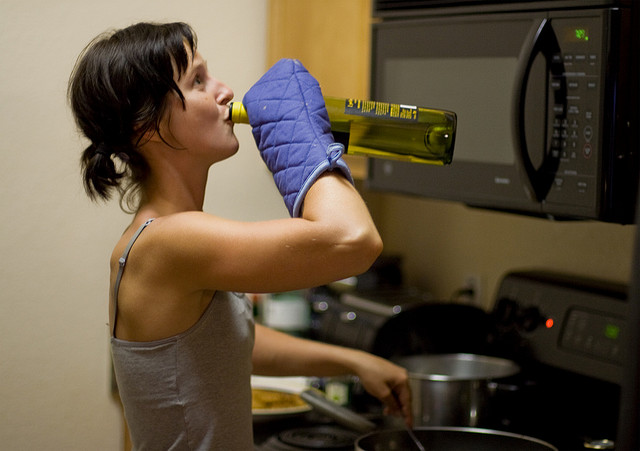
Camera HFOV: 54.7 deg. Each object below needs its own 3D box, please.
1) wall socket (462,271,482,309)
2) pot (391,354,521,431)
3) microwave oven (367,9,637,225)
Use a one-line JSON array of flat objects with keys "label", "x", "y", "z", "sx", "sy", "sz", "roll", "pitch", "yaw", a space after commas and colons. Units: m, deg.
[{"label": "wall socket", "x": 0.479, "y": 0.206, "z": 1.933, "sx": 0.066, "sy": 0.143, "sz": 0.068, "roll": -5, "pitch": -13, "yaw": 43}, {"label": "pot", "x": 0.323, "y": 0.393, "z": 1.459, "sx": 0.297, "sy": 0.186, "sz": 0.244, "roll": 1, "pitch": 17, "yaw": 7}, {"label": "microwave oven", "x": 0.381, "y": -0.239, "z": 1.333, "sx": 0.403, "sy": 0.481, "sz": 0.643, "roll": -4, "pitch": 8, "yaw": -35}]
